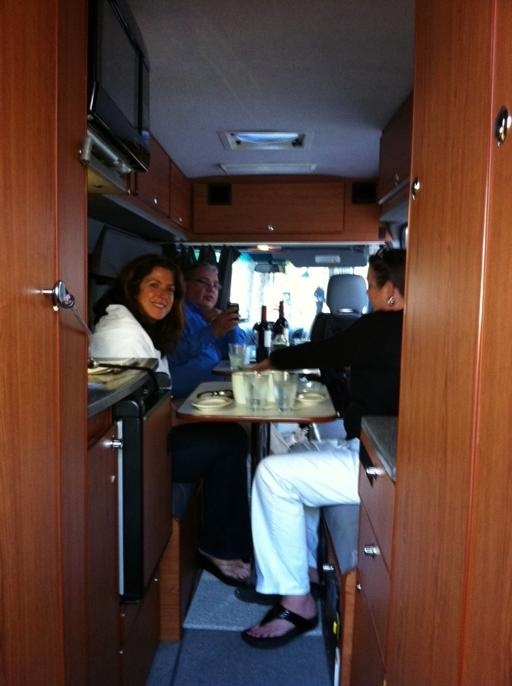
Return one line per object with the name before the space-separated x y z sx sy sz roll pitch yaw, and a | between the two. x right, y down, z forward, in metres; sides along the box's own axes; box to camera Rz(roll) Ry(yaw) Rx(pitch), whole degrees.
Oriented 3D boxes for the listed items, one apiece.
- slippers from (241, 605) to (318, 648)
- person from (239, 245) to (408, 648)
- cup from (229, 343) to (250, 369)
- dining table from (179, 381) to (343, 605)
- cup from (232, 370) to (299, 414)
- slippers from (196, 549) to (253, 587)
slippers | 0.075 0.867 1.715 0.225 0.115 0.097 2 -7 -25
person | 0.242 0.326 1.781 0.502 1.255 0.395 1 2 17
cup | -0.068 0.054 2.493 0.090 0.180 0.105 -4 7 -18
dining table | 0.049 0.457 1.986 0.461 0.441 0.422 0 13 3
cup | 0.040 0.153 1.831 0.113 0.110 0.203 1 2 10
slippers | -0.123 0.850 2.108 0.232 0.117 0.091 3 8 32
